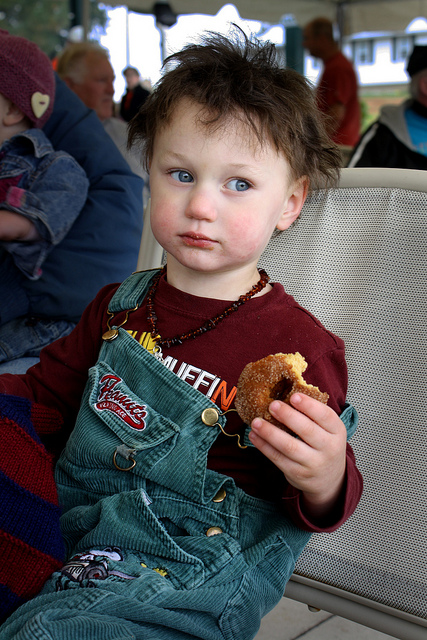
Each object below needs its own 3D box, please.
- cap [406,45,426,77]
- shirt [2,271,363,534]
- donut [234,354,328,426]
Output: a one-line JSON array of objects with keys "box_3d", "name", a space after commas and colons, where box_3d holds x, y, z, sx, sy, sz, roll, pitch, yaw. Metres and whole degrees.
[{"box_3d": [1.151, -1.462, 3.021, 0.046, 0.165, 0.156, -15, 36, -32], "name": "cap"}, {"box_3d": [-0.030, 0.122, 0.747, 0.362, 0.239, 0.204, 23, -4, 27], "name": "shirt"}, {"box_3d": [0.076, 0.081, 0.624, 0.093, 0.071, 0.073, -6, 27, -25], "name": "donut"}]
